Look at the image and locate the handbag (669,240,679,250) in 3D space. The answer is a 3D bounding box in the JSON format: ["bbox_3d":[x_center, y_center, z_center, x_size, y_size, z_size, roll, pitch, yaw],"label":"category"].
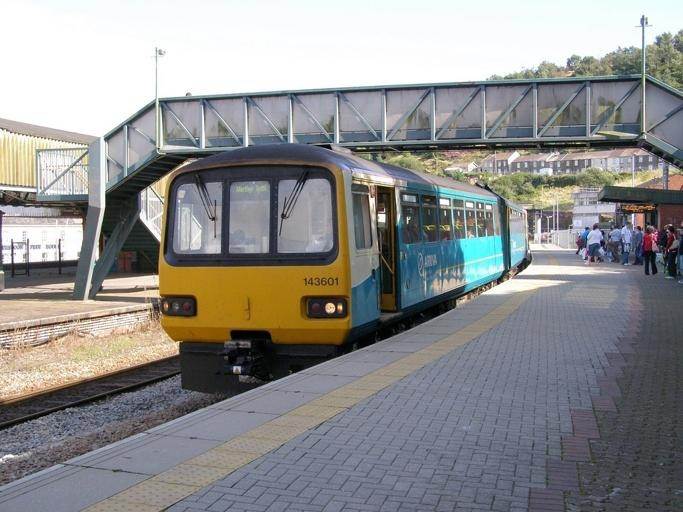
[{"bbox_3d":[12.438,-0.395,22.293,0.327,0.457,0.470,-1,-5,16],"label":"handbag"}]

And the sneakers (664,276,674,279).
[{"bbox_3d":[12.248,0.813,22.355,0.298,0.140,0.111,-1,1,31],"label":"sneakers"}]

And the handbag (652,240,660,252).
[{"bbox_3d":[13.012,-0.391,24.769,0.249,0.609,0.577,-3,-2,22],"label":"handbag"}]
